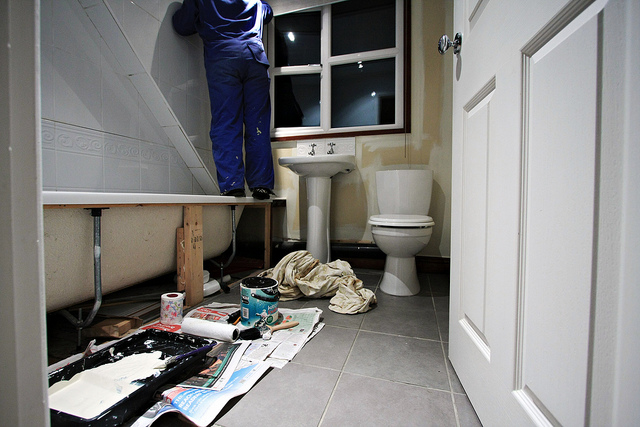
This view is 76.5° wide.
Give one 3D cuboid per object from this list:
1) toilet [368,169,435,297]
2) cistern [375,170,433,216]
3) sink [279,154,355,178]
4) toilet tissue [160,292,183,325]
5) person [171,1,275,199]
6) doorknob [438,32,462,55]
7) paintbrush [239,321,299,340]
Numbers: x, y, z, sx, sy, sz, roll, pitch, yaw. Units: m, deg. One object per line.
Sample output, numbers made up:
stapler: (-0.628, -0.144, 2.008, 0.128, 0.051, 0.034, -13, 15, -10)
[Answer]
toilet: (0.492, 0.088, 2.423, 0.331, 0.667, 0.610, 1, 2, 13)
cistern: (0.531, -0.124, 2.599, 0.316, 0.249, 0.284, 0, 1, 0)
sink: (-0.012, -0.311, 2.716, 0.511, 0.148, 0.255, -3, 4, -5)
toilet tissue: (-0.661, 0.434, 1.884, 0.115, 0.133, 0.121, 6, 7, 18)
person: (-0.552, -0.769, 2.779, 0.495, 1.354, 0.678, 0, 5, 29)
doorknob: (0.442, -0.585, 1.425, 0.075, 0.081, 0.073, -1, 7, -5)
paintbrush: (-0.219, 0.496, 1.731, 0.067, 0.044, 0.267, -1, 2, 44)
